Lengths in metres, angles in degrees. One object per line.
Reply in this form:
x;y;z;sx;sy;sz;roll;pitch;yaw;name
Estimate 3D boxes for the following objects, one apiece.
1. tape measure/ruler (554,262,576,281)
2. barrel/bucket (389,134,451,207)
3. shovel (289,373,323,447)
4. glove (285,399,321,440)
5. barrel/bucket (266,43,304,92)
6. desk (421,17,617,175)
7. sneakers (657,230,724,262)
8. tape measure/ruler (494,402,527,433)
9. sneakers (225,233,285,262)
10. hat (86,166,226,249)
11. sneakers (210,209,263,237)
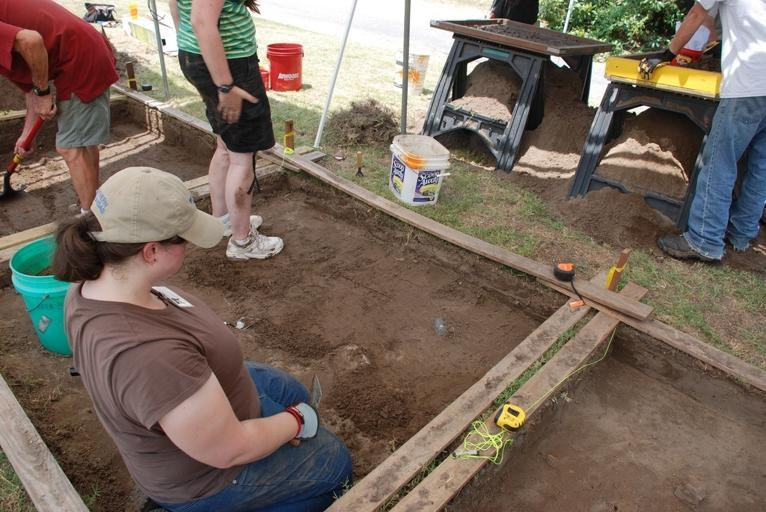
1.512;0.113;4.744;0.155;0.094;0.155;8;36;18;tape measure/ruler
0.285;-0.932;5.766;0.641;0.598;0.852;-7;37;-19;barrel/bucket
-0.456;0.975;3.457;0.117;0.296;0.220;4;10;-15;shovel
-0.473;0.967;3.431;0.180;0.149;0.226;19;30;7;glove
-1.415;-2.935;8.778;0.738;0.697;0.678;0;30;0;barrel/bucket
1.550;-2.055;7.058;1.553;1.439;1.819;-15;36;-38;desk
2.749;-0.136;5.144;0.459;0.191;0.254;25;40;32;sneakers
0.856;1.093;3.868;0.172;0.107;0.161;-23;43;-39;tape measure/ruler
-1.179;-0.100;5.390;0.560;0.264;0.216;-7;32;-15;sneakers
-1.219;-0.302;3.031;0.604;0.333;0.392;-3;30;-27;hat
-1.248;-0.282;4.853;0.484;0.213;0.158;-18;61;-23;sneakers
